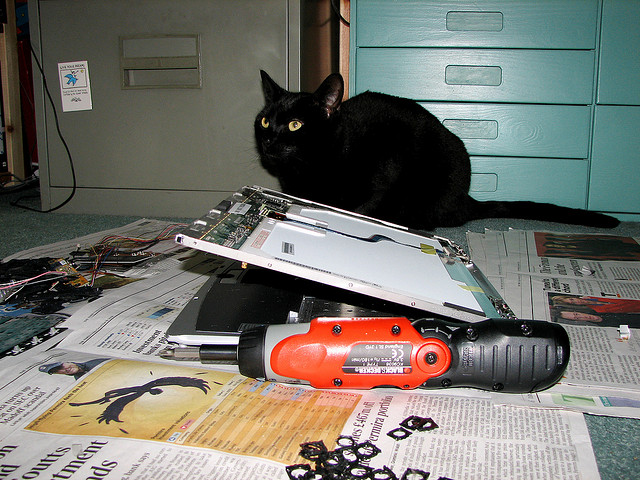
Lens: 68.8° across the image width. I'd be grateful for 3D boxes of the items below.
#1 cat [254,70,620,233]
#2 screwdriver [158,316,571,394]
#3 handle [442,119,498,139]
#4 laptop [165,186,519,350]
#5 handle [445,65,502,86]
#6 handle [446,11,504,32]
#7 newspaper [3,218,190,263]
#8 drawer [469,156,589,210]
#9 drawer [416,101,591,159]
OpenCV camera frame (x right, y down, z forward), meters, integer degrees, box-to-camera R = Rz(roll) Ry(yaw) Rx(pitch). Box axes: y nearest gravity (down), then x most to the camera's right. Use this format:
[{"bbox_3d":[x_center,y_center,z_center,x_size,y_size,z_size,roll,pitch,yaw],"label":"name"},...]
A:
[{"bbox_3d":[0.403,-0.236,1.502,1.553,0.455,0.388,1,1,-12],"label":"cat"},{"bbox_3d":[0.067,0.152,0.626,0.523,0.075,0.071,-1,19,-3],"label":"screwdriver"},{"bbox_3d":[0.477,-0.353,1.467,0.174,0.078,0.033,6,8,6],"label":"handle"},{"bbox_3d":[0.039,0.048,0.724,0.433,0.092,0.325,5,21,7],"label":"laptop"},{"bbox_3d":[0.477,-0.515,1.453,0.169,0.062,0.030,4,6,6],"label":"handle"},{"bbox_3d":[0.467,-0.664,1.410,0.161,0.059,0.010,3,20,8],"label":"handle"},{"bbox_3d":[-0.573,0.001,1.194,0.385,0.014,0.377,4,14,5],"label":"newspaper"},{"bbox_3d":[0.676,-0.218,1.652,0.509,0.146,0.574,4,10,16],"label":"drawer"},{"bbox_3d":[0.616,-0.352,1.468,0.345,0.058,0.296,6,6,36],"label":"drawer"}]
